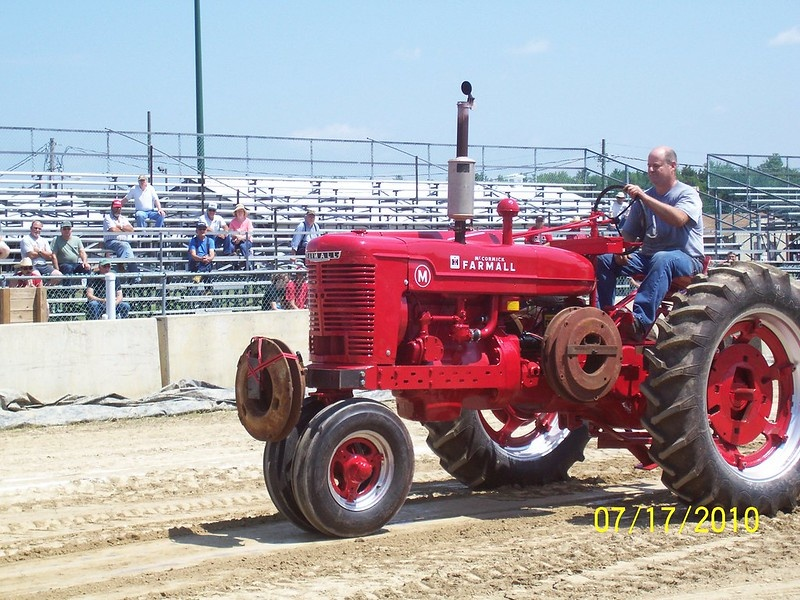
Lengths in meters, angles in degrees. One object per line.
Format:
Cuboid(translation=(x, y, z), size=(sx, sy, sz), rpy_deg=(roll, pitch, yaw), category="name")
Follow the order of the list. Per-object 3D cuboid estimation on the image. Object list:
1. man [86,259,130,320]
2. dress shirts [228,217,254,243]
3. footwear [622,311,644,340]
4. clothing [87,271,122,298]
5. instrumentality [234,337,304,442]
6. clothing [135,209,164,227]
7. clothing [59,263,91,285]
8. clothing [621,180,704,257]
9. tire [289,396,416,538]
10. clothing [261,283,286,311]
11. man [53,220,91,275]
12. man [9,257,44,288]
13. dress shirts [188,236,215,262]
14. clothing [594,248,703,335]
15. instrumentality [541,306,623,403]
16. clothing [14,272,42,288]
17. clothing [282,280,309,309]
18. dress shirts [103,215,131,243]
Cuboid(translation=(-3.728, -0.072, 16.313), size=(0.572, 0.954, 0.592), rpy_deg=(1, -5, -6), category="man")
Cuboid(translation=(-2.421, -1.071, 19.376), size=(0.295, 0.293, 0.424), rpy_deg=(-2, -14, 1), category="dress shirts")
Cuboid(translation=(1.900, 0.226, 10.384), size=(0.232, 0.126, 0.227), rpy_deg=(-1, -22, -20), category="footwear")
Cuboid(translation=(-3.797, -0.159, 16.364), size=(0.480, 0.462, 0.255), rpy_deg=(-1, 2, -10), category="clothing")
Cuboid(translation=(-0.964, 0.698, 9.535), size=(0.653, 0.810, 0.278), rpy_deg=(4, 9, 34), category="instrumentality")
Cuboid(translation=(-4.084, -1.343, 20.772), size=(0.300, 0.175, 0.396), rpy_deg=(2, 11, -17), category="clothing")
Cuboid(translation=(-4.396, -0.395, 17.303), size=(0.502, 0.308, 0.149), rpy_deg=(2, 2, 8), category="clothing")
Cuboid(translation=(2.318, -0.643, 10.876), size=(0.503, 0.711, 0.876), rpy_deg=(0, -8, -33), category="clothing")
Cuboid(translation=(-0.381, 1.271, 9.466), size=(0.980, 1.037, 0.358), rpy_deg=(3, -7, -31), category="tire")
Cuboid(translation=(-1.652, -0.047, 16.923), size=(0.311, 0.345, 0.085), rpy_deg=(10, -7, 44), category="clothing")
Cuboid(translation=(-4.503, -0.637, 17.493), size=(0.523, 0.925, 0.501), rpy_deg=(-2, 0, 6), category="man")
Cuboid(translation=(-4.847, -0.308, 16.626), size=(0.464, 0.279, 0.628), rpy_deg=(0, -1, -12), category="man")
Cuboid(translation=(-2.838, -0.733, 18.361), size=(0.276, 0.266, 0.382), rpy_deg=(-1, -9, -10), category="dress shirts")
Cuboid(translation=(2.027, -0.096, 10.496), size=(0.831, 0.580, 0.640), rpy_deg=(-3, 8, -37), category="clothing")
Cuboid(translation=(1.451, 0.402, 10.114), size=(0.686, 0.694, 0.357), rpy_deg=(4, 2, -30), category="instrumentality")
Cuboid(translation=(-4.744, -0.238, 16.233), size=(0.255, 0.152, 0.350), rpy_deg=(-3, -6, -8), category="clothing")
Cuboid(translation=(-1.355, -0.056, 16.458), size=(0.098, 0.368, 0.374), rpy_deg=(-5, -8, 39), category="clothing")
Cuboid(translation=(-4.263, -1.064, 19.216), size=(0.459, 0.521, 0.339), rpy_deg=(4, -8, -37), category="dress shirts")
